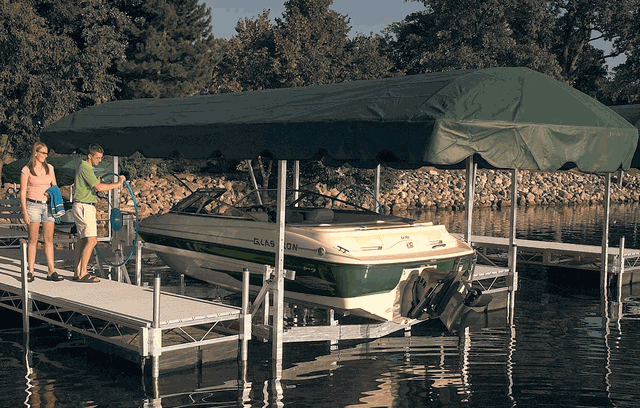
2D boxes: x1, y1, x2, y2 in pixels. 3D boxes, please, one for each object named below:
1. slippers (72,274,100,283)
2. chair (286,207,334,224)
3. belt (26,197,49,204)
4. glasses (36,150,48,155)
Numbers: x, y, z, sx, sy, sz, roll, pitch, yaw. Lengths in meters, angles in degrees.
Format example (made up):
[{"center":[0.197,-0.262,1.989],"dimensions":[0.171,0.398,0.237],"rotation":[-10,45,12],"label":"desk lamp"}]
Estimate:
[{"center":[-8.558,2.782,48.617],"dimensions":[0.977,0.247,0.345],"rotation":[0,3,15],"label":"slippers"},{"center":[-0.364,0.468,49.567],"dimensions":[0.799,0.399,1.288],"rotation":[0,5,-41],"label":"chair"},{"center":[-10.259,-0.072,48.297],"dimensions":[0.685,0.161,0.073],"rotation":[0,2,-15],"label":"belt"},{"center":[-10.082,-1.838,48.521],"dimensions":[0.215,0.123,0.534],"rotation":[0,1,6],"label":"glasses"}]
